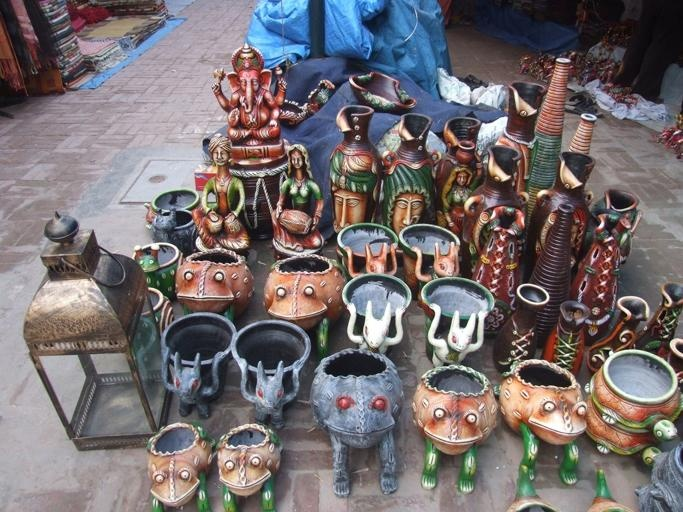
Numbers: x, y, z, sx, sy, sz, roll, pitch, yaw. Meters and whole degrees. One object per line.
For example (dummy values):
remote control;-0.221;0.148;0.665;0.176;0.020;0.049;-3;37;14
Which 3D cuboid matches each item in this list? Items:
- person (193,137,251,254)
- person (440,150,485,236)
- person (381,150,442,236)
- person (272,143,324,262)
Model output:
person;-1.190;-0.512;4.834;0.517;1.186;0.590;-6;32;-9
person;1.098;-0.666;4.826;0.420;0.858;0.358;14;34;22
person;0.620;-0.568;4.917;0.632;1.018;0.699;-2;38;-1
person;-0.413;-0.494;4.794;0.484;1.035;0.618;7;32;11
